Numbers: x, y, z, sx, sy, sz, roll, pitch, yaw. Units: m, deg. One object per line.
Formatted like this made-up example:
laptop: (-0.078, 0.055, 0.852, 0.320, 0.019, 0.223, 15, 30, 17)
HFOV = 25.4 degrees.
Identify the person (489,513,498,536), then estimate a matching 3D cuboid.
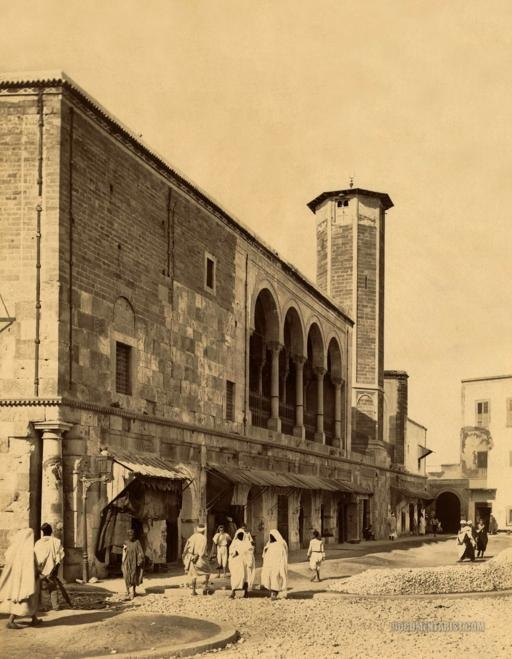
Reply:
person: (12.856, 10.451, 61.086, 0.439, 1.838, 0.561, 0, -8, -2)

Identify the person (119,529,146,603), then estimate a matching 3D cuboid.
person: (-2.173, 4.165, 19.938, 0.401, 1.069, 1.138, 10, 3, -5)

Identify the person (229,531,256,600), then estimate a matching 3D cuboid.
person: (-0.272, 4.362, 20.978, 0.493, 1.126, 1.109, 11, 3, 1)

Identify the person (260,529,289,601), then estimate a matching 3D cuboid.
person: (0.368, 4.320, 20.804, 0.473, 1.114, 0.816, 10, 4, -18)

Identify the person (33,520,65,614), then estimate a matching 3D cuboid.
person: (-3.186, 3.503, 17.433, 0.409, 1.334, 0.516, 3, 23, -2)

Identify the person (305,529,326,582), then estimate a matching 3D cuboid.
person: (1.251, 4.614, 23.511, 0.267, 1.234, 0.267, 3, 16, 13)
